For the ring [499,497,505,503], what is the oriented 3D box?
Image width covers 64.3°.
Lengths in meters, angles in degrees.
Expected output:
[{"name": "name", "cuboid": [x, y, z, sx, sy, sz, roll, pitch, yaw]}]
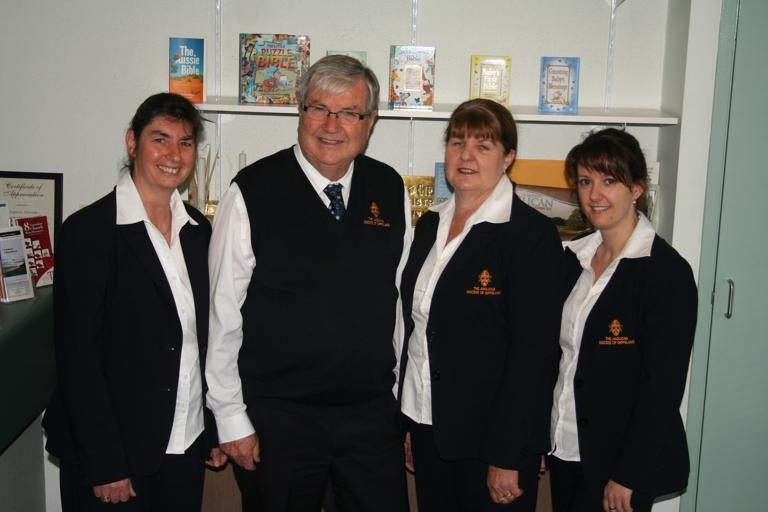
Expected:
[{"name": "ring", "cuboid": [0.509, 1.048, 2.624, 0.022, 0.021, 0.005, 25, 10, 14]}]

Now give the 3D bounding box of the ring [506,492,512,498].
[{"name": "ring", "cuboid": [0.533, 1.019, 2.606, 0.025, 0.026, 0.006, 0, 2, 10]}]

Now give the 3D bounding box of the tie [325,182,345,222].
[{"name": "tie", "cuboid": [-0.210, -0.238, 2.691, 0.095, 0.154, 0.035, 6, -14, -26]}]
